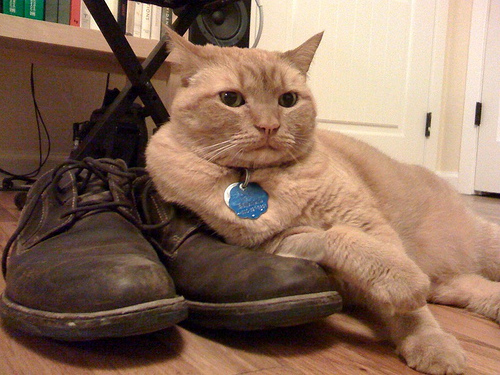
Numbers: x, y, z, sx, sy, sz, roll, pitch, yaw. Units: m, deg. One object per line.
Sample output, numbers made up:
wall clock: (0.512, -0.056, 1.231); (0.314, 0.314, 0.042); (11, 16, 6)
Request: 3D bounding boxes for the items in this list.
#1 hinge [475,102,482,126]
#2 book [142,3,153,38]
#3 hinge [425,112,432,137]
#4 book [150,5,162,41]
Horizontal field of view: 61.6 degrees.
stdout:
hinge: (1.646, -0.529, 3.018); (0.046, 0.168, 0.023); (3, 10, -8)
book: (-0.457, -0.738, 1.863); (0.027, 0.104, 0.113); (8, -7, -21)
hinge: (1.157, -0.410, 2.717); (0.033, 0.154, 0.017); (8, 10, 19)
book: (-0.407, -0.713, 1.820); (0.046, 0.163, 0.119); (2, 10, -14)
